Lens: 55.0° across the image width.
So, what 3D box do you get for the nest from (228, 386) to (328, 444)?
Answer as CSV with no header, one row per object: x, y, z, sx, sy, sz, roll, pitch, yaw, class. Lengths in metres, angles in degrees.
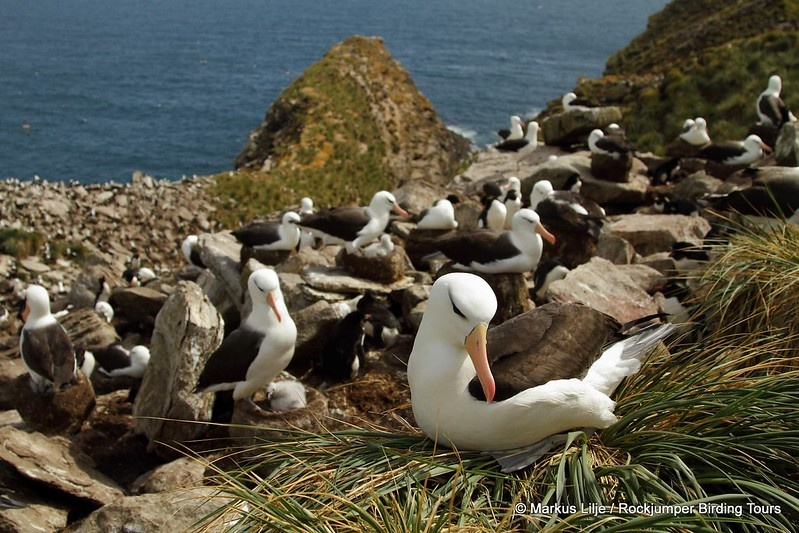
-2.095,2.608,13.435,1.475,0.674,1.339,9,18,44,nest

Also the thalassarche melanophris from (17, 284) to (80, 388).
-6.787,1.435,15.005,1.009,1.689,2.349,-13,33,-33,thalassarche melanophris

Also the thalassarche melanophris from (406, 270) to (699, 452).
2.171,1.180,13.280,4.393,2.639,2.489,-25,17,-19,thalassarche melanophris

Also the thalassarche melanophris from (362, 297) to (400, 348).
-0.385,1.137,15.281,0.865,0.890,0.430,18,35,16,thalassarche melanophris
